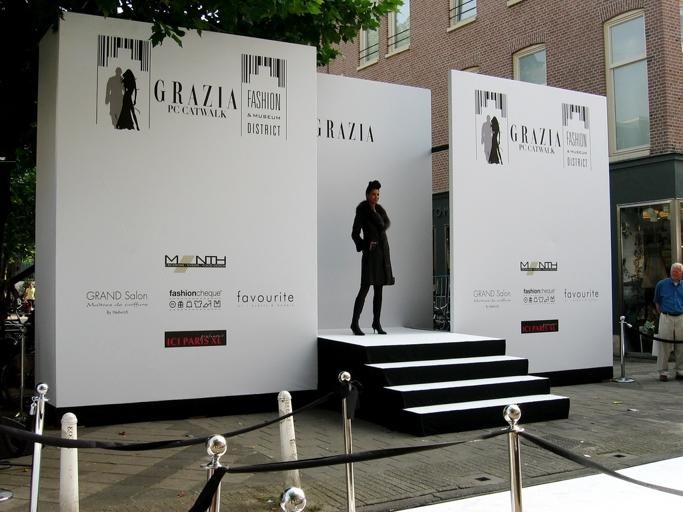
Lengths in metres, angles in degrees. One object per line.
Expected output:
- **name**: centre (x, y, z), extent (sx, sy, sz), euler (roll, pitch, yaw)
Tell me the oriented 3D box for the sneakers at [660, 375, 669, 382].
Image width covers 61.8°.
- **sneakers**: centre (6.745, 2.565, 11.982), extent (0.096, 0.143, 0.310), euler (-1, -8, 0)
